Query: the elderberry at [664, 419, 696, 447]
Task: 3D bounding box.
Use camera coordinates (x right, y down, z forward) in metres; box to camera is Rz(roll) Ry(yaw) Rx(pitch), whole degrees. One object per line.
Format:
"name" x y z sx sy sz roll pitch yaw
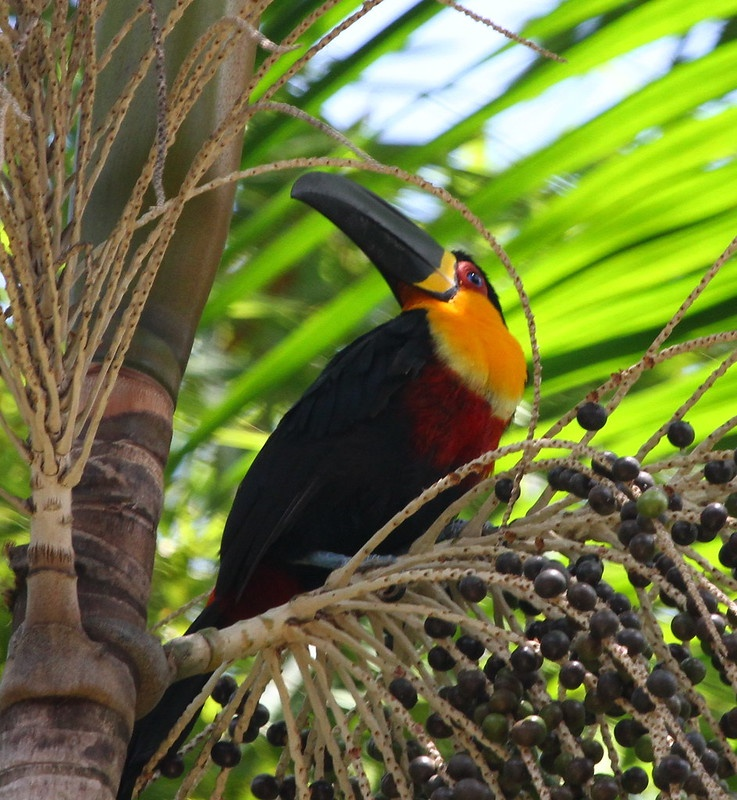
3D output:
"elderberry" 0.345 0.037 1.451 0.039 0.034 0.033 -1 1 -1

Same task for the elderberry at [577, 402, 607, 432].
"elderberry" 0.246 0.017 1.405 0.039 0.034 0.034 3 -10 3
